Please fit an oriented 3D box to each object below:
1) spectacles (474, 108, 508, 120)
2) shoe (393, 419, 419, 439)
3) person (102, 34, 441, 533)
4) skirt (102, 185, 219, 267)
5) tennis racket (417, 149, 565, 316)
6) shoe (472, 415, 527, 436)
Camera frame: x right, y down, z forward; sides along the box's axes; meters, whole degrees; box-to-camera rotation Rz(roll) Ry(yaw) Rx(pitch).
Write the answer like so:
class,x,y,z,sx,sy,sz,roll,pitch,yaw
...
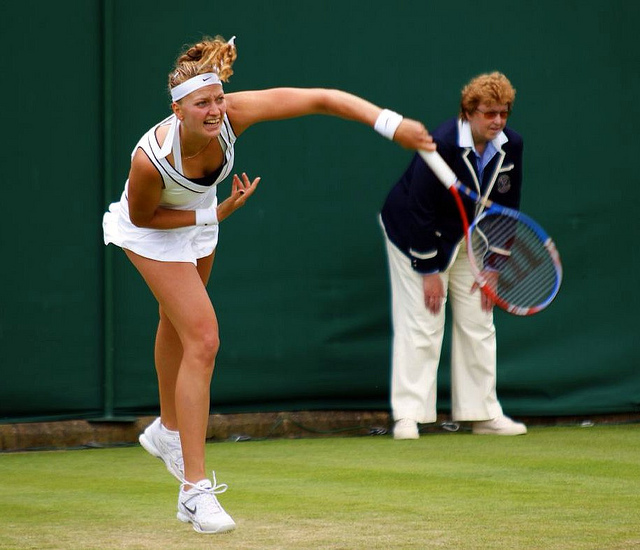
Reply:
class,x,y,z,sx,sy,sz,roll,pitch,yaw
spectacles,0.784,-0.717,4.331,0.162,0.036,0.053,-1,1,-16
shoe,0.412,0.755,4.633,0.117,0.077,0.059,-1,0,3
person,-0.189,0.014,3.300,1.075,1.665,0.831,1,14,-3
skirt,-0.578,-0.154,3.387,0.413,0.261,0.353,-1,1,-6
tennis racket,0.760,-0.178,4.435,0.808,0.303,0.062,43,-2,-15
shoe,0.887,0.763,4.736,0.262,0.122,0.105,-1,-1,8
